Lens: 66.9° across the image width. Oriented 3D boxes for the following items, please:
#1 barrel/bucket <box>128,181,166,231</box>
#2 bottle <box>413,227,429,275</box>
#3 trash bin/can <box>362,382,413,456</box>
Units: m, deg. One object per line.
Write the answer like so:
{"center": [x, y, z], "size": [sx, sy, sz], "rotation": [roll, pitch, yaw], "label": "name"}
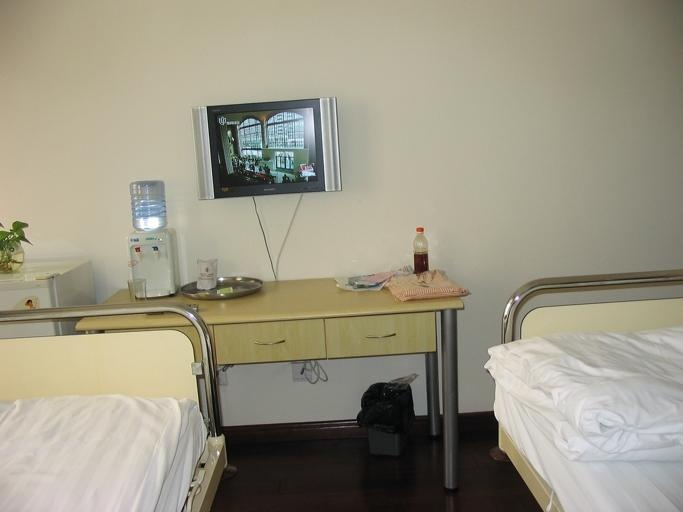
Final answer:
{"center": [-1.094, -0.291, 2.949], "size": [0.188, 0.277, 0.076], "rotation": [-5, 8, -14], "label": "barrel/bucket"}
{"center": [0.459, -0.039, 2.973], "size": [0.092, 0.255, 0.220], "rotation": [-2, 7, 10], "label": "bottle"}
{"center": [0.326, 0.929, 3.038], "size": [0.365, 0.387, 0.341], "rotation": [1, 5, 10], "label": "trash bin/can"}
